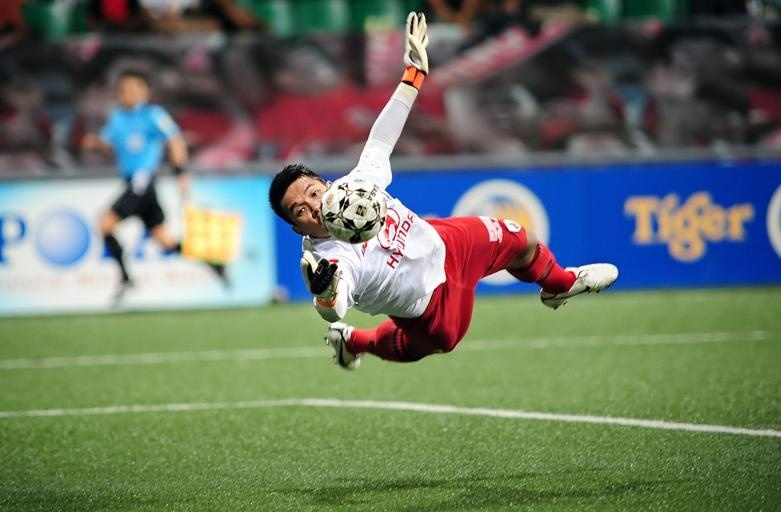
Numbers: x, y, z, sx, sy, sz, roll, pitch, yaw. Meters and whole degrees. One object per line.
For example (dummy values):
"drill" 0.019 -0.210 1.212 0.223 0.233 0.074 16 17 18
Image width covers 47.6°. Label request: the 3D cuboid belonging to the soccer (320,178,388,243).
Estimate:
"soccer" -0.344 -0.323 6.653 0.472 0.441 0.507 -1 54 -21
